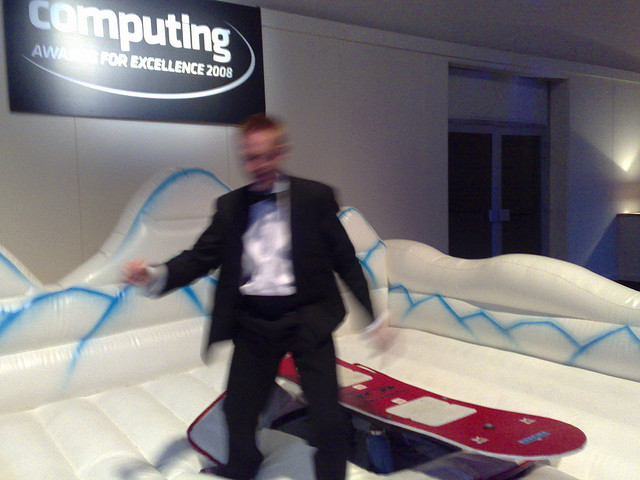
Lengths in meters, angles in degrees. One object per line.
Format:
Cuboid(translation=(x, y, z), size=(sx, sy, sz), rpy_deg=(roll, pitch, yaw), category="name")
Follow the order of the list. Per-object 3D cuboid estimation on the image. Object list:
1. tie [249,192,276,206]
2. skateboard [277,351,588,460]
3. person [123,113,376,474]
Cuboid(translation=(-0.238, -0.167, 1.787), size=(0.067, 0.068, 0.016), rpy_deg=(17, 18, 2), category="tie")
Cuboid(translation=(0.521, 0.755, 1.996), size=(1.284, 0.184, 0.305), rpy_deg=(10, 16, 42), category="skateboard")
Cuboid(translation=(-0.220, 0.230, 1.794), size=(0.836, 1.429, 0.480), rpy_deg=(2, 14, 17), category="person")
